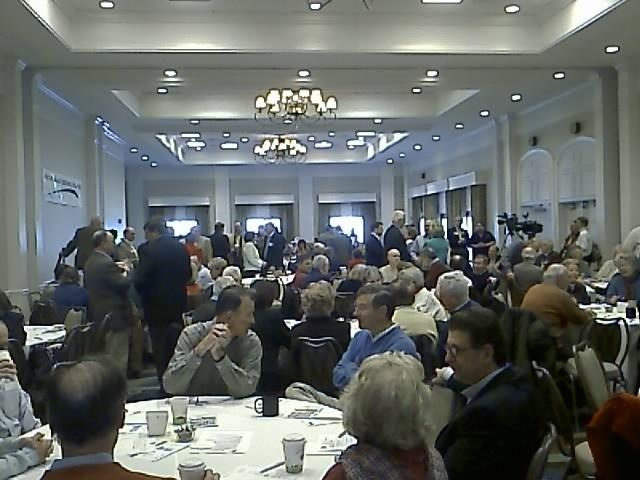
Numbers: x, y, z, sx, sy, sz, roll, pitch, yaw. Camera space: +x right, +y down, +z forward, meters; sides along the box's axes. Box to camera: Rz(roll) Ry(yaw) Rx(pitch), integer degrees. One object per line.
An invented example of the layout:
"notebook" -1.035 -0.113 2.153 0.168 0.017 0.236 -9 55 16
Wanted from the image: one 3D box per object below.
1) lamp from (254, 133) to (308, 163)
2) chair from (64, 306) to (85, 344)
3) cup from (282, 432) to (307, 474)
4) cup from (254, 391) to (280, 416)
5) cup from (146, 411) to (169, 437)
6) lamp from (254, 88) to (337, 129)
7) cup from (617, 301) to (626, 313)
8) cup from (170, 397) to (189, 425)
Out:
"lamp" -1.193 -2.771 15.368 1.075 0.319 1.043 2 -1 22
"chair" -2.580 0.896 5.399 0.152 0.254 0.175 8 -5 2
"cup" -0.118 0.970 2.379 0.094 0.159 0.151 0 -1 -2
"cup" -0.302 0.962 3.039 0.168 0.139 0.099 0 -2 0
"cup" -0.856 0.958 2.689 0.123 0.138 0.111 1 -7 -7
"lamp" -0.395 -2.529 9.728 1.624 0.755 1.769 3 12 9
"cup" 3.610 0.804 6.113 0.113 0.101 0.091 1 -8 19
"cup" -0.761 0.930 2.858 0.121 0.147 0.123 -1 0 0
